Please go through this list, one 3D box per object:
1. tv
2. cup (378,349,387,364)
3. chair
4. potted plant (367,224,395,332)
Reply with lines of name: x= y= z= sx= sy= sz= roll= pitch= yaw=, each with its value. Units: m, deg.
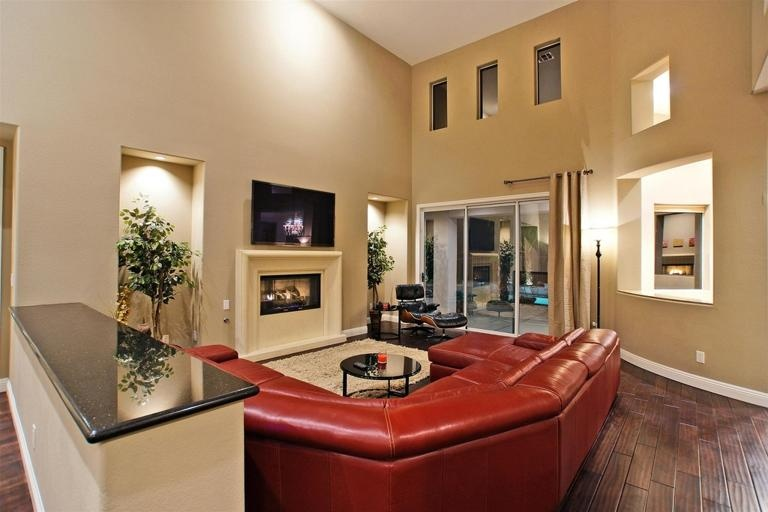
tv: x=-1.435 y=-0.648 z=7.680 sx=1.119 sy=0.673 sz=0.057 roll=2 pitch=-3 yaw=-41
cup: x=-0.018 y=1.164 z=5.832 sx=0.099 sy=0.110 sz=0.098 roll=-1 pitch=-3 yaw=0
chair: x=0.741 y=0.922 z=8.541 sx=0.765 sy=0.810 sz=1.172 roll=0 pitch=2 yaw=-32
potted plant: x=-0.051 y=0.380 z=9.253 sx=0.494 sy=1.804 sz=1.451 roll=-1 pitch=-1 yaw=1
